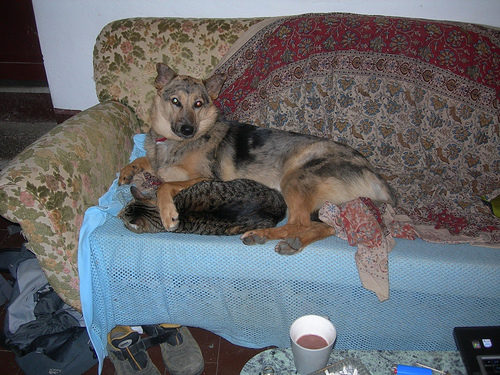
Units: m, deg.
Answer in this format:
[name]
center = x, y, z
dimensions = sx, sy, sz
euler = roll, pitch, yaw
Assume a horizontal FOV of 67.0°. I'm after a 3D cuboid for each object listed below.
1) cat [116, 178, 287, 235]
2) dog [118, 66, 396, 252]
[cat]
center = -0.294, 0.175, 2.852
dimensions = 1.256, 0.476, 0.621
euler = 0, 3, -9
[dog]
center = -0.012, -0.034, 3.068
dimensions = 2.048, 1.059, 1.326
euler = 8, 42, 15
